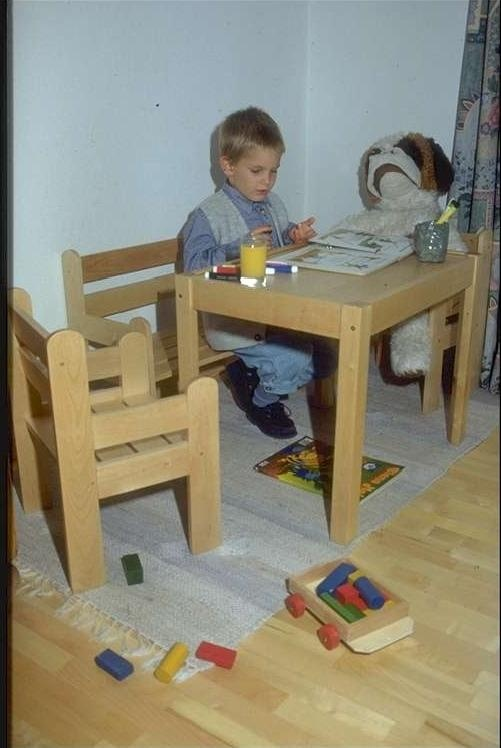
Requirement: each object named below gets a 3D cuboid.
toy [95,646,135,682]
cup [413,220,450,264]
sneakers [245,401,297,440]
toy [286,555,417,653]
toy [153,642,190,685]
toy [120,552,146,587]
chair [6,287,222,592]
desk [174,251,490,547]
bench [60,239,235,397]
[{"bbox_3d":[-0.194,0.415,0.860,0.061,0.027,0.031,16,27,37],"label":"toy"},{"bbox_3d":[0.412,-0.300,1.357,0.093,0.113,0.085,-2,15,0],"label":"cup"},{"bbox_3d":[0.052,0.124,1.714,0.155,0.069,0.068,33,41,31],"label":"sneakers"},{"bbox_3d":[0.151,0.363,0.956,0.118,0.046,0.135,-14,27,-29],"label":"toy"},{"bbox_3d":[-0.112,0.406,0.850,0.032,0.026,0.061,24,32,4],"label":"toy"},{"bbox_3d":[-0.208,0.340,1.060,0.036,0.030,0.061,-9,29,-11],"label":"toy"},{"bbox_3d":[-0.263,0.104,1.171,0.409,0.467,0.398,20,27,39],"label":"chair"},{"bbox_3d":[0.189,-0.042,1.388,0.592,0.441,0.462,12,32,40],"label":"desk"},{"bbox_3d":[-0.284,-0.131,1.797,0.292,0.482,0.712,16,20,10],"label":"bench"}]
